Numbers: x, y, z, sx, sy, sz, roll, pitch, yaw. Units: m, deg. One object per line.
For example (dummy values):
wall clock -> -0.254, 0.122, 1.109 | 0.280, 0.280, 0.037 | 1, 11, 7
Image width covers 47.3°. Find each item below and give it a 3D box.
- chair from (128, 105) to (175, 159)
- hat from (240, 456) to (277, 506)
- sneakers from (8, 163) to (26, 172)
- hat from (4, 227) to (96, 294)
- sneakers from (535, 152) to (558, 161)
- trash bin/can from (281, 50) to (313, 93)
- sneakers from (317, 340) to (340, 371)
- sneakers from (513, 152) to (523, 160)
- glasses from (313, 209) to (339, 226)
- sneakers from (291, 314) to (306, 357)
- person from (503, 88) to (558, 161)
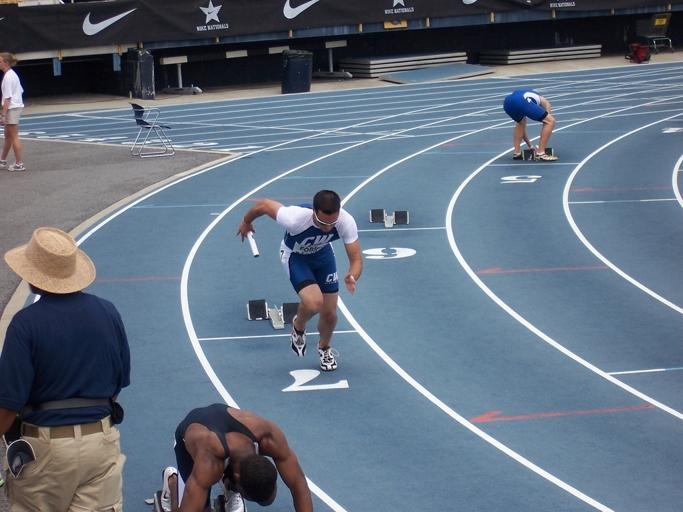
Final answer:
chair -> -4.493, -2.897, 18.830 | 1.035, 1.204, 0.983 | 3, 11, 2
hat -> -0.523, 1.425, 4.918 | 0.216, 0.367, 0.235 | -6, 9, -18
sneakers -> -6.668, -1.719, 15.809 | 0.387, 0.171, 0.169 | 4, 31, 13
hat -> -1.913, 0.030, 5.053 | 0.488, 0.170, 0.467 | 40, 39, 23
sneakers -> 4.480, -2.049, 16.863 | 0.526, 0.215, 0.174 | -1, 15, -2
trash bin/can -> -1.656, -6.524, 28.749 | 1.179, 1.512, 1.062 | -3, 9, -5
sneakers -> -0.138, 1.071, 8.294 | 0.144, 0.146, 0.350 | -2, 13, -16
sneakers -> 3.864, -2.059, 16.928 | 0.161, 0.165, 0.436 | 1, 3, 15
glasses -> -0.154, -0.316, 7.390 | 0.262, 0.159, 0.187 | -1, 9, 12
sneakers -> -0.454, 0.860, 8.178 | 0.155, 0.436, 0.194 | -6, 4, -17
person -> 4.062, -2.668, 16.712 | 1.033, 1.507, 1.095 | 0, 9, 15
